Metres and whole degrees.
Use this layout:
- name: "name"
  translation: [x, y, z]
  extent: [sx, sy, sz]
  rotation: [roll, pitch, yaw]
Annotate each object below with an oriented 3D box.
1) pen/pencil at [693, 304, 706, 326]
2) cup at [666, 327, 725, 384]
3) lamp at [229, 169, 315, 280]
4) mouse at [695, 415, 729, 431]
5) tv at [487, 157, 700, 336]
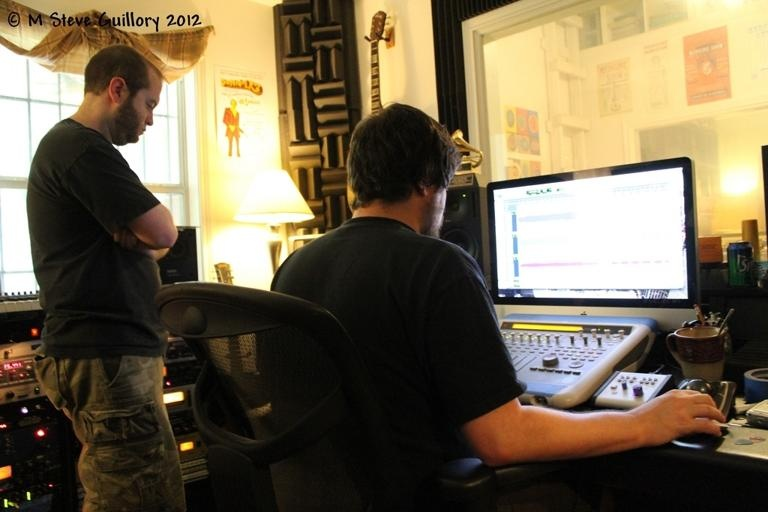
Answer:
- name: "pen/pencil"
  translation: [1.116, 0.210, 2.150]
  extent: [0.028, 0.066, 0.022]
  rotation: [-25, 10, -6]
- name: "cup"
  translation: [1.056, 0.316, 2.014]
  extent: [0.157, 0.172, 0.185]
  rotation: [-9, 3, -37]
- name: "lamp"
  translation: [-0.715, -0.237, 4.324]
  extent: [0.659, 1.004, 0.681]
  rotation: [-3, 4, -24]
- name: "mouse"
  translation: [0.929, 0.470, 1.712]
  extent: [0.066, 0.019, 0.049]
  rotation: [26, 3, 21]
- name: "tv"
  translation: [0.806, -0.016, 2.308]
  extent: [0.695, 0.514, 0.201]
  rotation: [-2, 1, 30]
